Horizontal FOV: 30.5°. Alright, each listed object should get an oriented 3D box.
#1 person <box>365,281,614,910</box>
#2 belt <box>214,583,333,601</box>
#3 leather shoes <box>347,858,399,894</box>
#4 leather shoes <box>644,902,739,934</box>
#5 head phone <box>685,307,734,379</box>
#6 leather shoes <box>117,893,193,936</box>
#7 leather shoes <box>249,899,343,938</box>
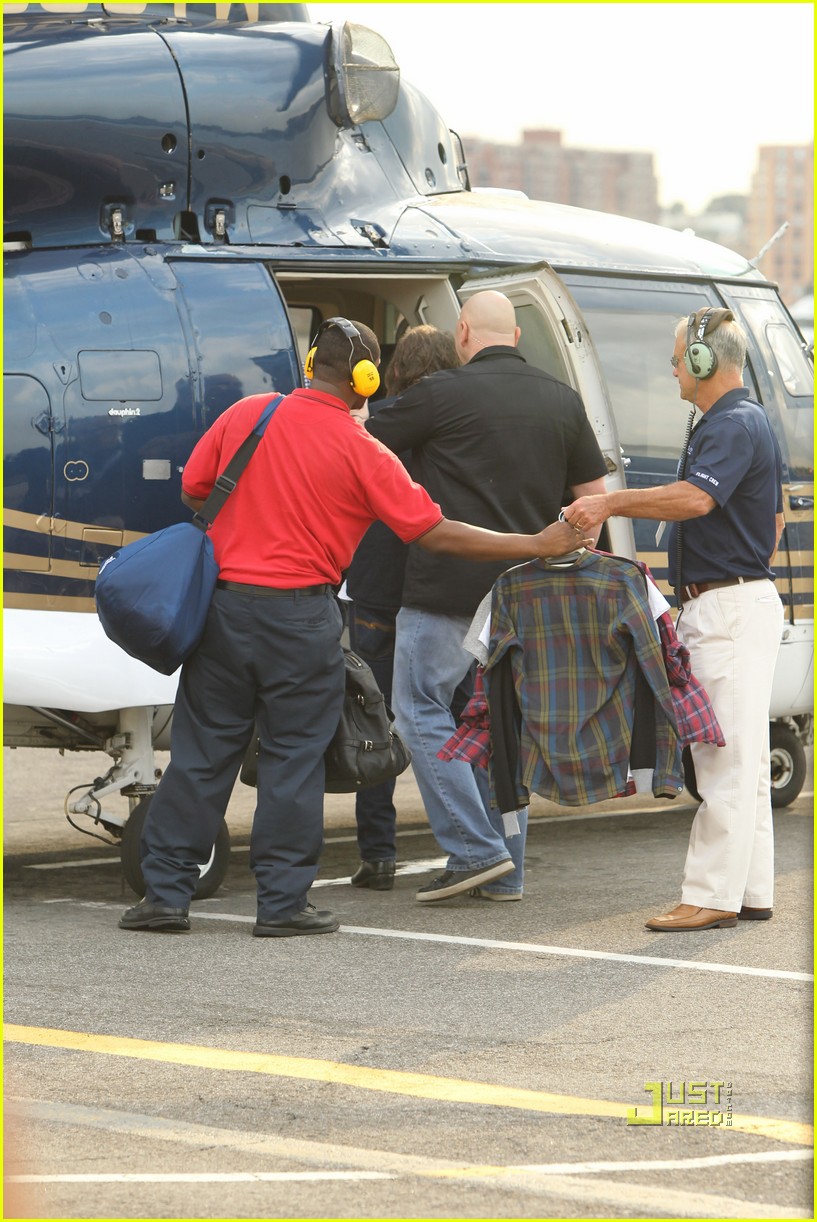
[{"bbox_3d":[0.142,-0.067,5.291,0.956,2.037,0.790,-1,3,-31],"label":"person"},{"bbox_3d":[-0.405,-0.063,4.634,0.365,0.029,0.127,1,0,-10],"label":"belt"},{"bbox_3d":[-0.127,0.979,5.577,0.084,0.081,0.203,1,1,-16],"label":"leather shoes"},{"bbox_3d":[0.910,1.007,4.903,0.319,0.106,0.103,3,-7,-8],"label":"leather shoes"},{"bbox_3d":[0.966,-0.854,4.841,0.107,0.195,0.238,8,5,17],"label":"head phone"},{"bbox_3d":[-0.815,0.967,4.763,0.249,0.098,0.095,3,-1,39],"label":"leather shoes"},{"bbox_3d":[-0.356,0.978,4.751,0.271,0.097,0.098,-3,5,-13],"label":"leather shoes"}]
